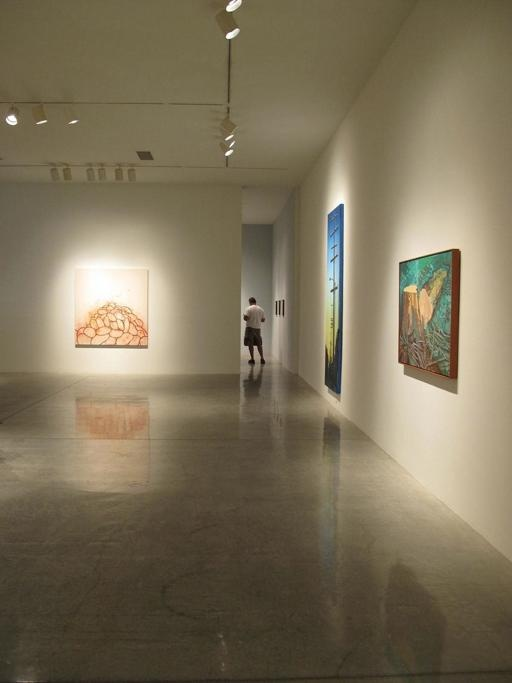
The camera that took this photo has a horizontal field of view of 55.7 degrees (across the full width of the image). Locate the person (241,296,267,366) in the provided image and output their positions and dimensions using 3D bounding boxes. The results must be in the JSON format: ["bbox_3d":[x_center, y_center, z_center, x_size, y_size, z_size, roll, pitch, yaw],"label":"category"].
[{"bbox_3d":[-0.101,-0.293,13.199,0.493,1.936,0.524,6,-19,-19],"label":"person"}]
